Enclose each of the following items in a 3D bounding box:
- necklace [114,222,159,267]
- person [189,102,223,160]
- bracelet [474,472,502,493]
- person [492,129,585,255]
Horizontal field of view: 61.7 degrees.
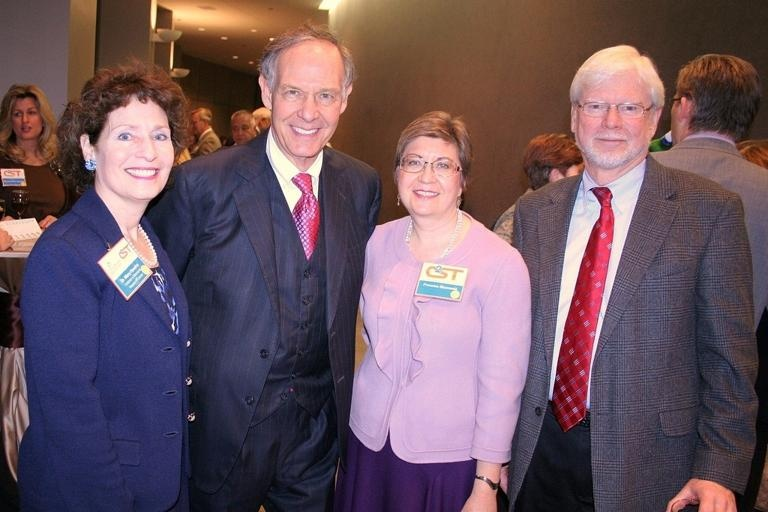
[{"bbox_3d":[-1.048,-0.037,2.788,0.115,0.054,0.199,5,47,-46],"label":"necklace"},{"bbox_3d":[-2.737,-1.828,9.828,0.532,0.864,0.823,0,4,-26],"label":"person"},{"bbox_3d":[0.467,1.025,2.909,0.103,0.043,0.092,22,-5,8],"label":"bracelet"},{"bbox_3d":[1.125,-0.465,4.670,0.596,0.809,0.752,-1,9,2],"label":"person"}]
